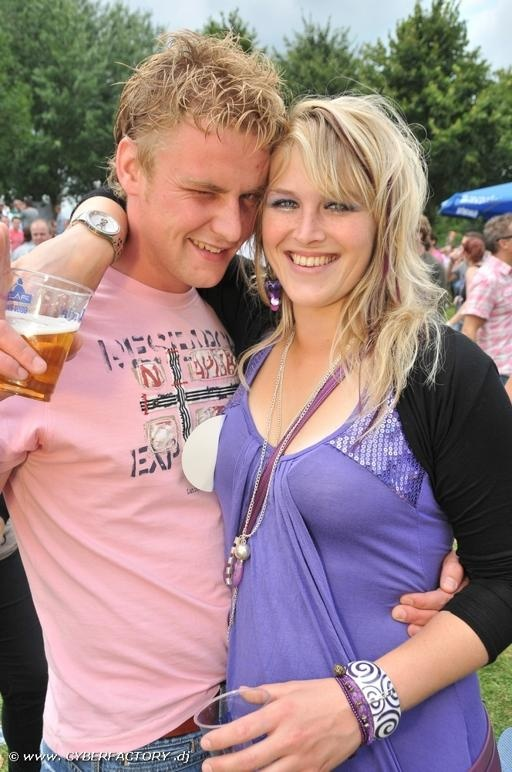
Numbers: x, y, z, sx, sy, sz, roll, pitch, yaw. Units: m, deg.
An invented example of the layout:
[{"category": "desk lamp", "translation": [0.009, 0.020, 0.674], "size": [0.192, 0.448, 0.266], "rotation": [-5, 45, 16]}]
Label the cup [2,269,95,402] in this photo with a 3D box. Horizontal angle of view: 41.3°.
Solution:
[{"category": "cup", "translation": [-0.445, -0.115, 1.486], "size": [0.189, 0.253, 0.194], "rotation": [6, 19, -2]}]

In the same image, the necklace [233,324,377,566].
[{"category": "necklace", "translation": [0.077, 0.147, 1.943], "size": [0.263, 0.057, 0.656], "rotation": [-37, 20, 31]}]

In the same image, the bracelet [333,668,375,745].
[{"category": "bracelet", "translation": [0.200, 0.682, 1.462], "size": [0.066, 0.112, 0.141], "rotation": [-18, 12, 7]}]

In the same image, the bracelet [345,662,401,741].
[{"category": "bracelet", "translation": [0.256, 0.655, 1.446], "size": [0.079, 0.154, 0.126], "rotation": [-26, -14, -6]}]
